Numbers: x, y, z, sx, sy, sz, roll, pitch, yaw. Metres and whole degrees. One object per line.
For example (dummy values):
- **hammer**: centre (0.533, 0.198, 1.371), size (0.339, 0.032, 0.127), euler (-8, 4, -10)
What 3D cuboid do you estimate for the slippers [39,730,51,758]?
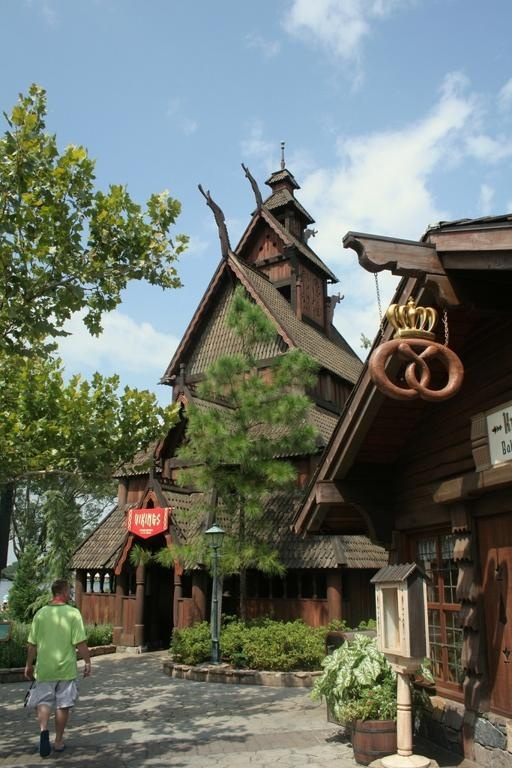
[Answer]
- **slippers**: centre (-2.036, 3.487, 6.534), size (0.081, 0.274, 0.206), euler (4, -15, -11)

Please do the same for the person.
- **person**: centre (-1.975, 2.846, 6.764), size (0.611, 1.692, 0.390), euler (6, -15, -17)
